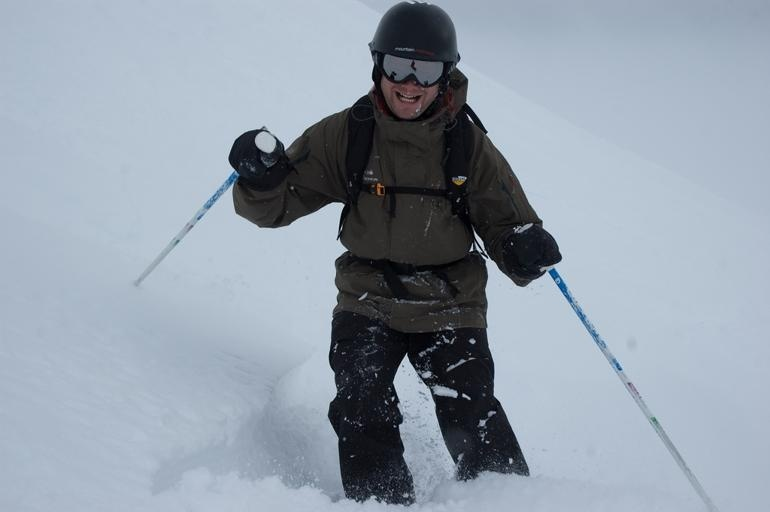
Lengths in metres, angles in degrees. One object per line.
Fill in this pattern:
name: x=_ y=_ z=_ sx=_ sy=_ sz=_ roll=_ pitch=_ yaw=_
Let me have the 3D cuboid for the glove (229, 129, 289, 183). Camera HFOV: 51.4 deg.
glove: x=-1.609 y=-1.219 z=9.842 sx=0.533 sy=0.566 sz=0.677 roll=40 pitch=-9 yaw=-36
